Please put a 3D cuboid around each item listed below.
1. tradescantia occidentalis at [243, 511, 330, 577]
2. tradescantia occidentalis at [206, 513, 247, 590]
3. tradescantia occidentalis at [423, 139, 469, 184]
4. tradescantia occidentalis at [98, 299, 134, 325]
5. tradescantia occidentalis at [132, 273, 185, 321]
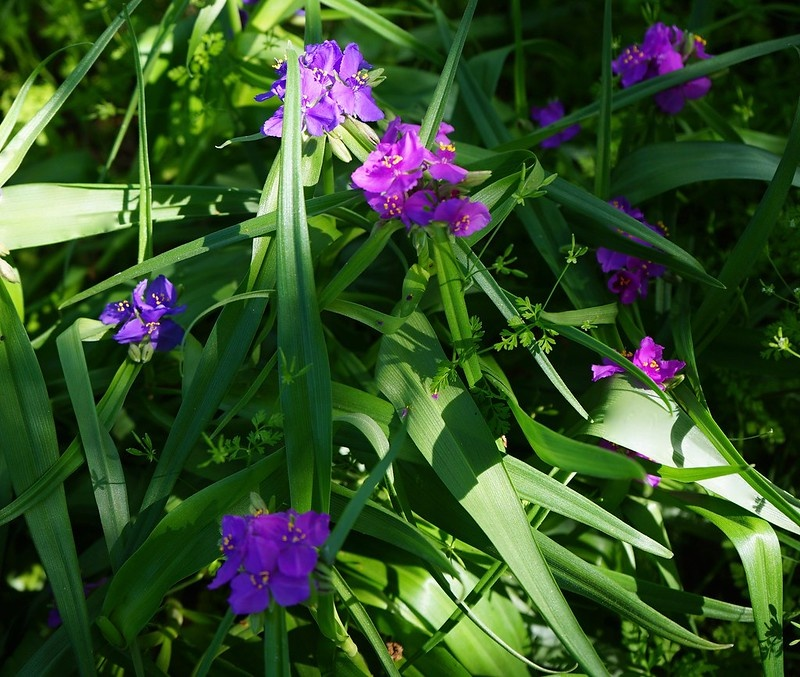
[{"bbox_3d":[-0.120,0.223,0.943,0.073,0.035,0.104,-9,23,28],"label":"tradescantia occidentalis"},{"bbox_3d":[-0.193,0.245,0.971,0.017,0.085,0.050,2,20,-26],"label":"tradescantia occidentalis"},{"bbox_3d":[0.060,-0.217,1.052,0.048,0.048,0.116,-7,2,8],"label":"tradescantia occidentalis"},{"bbox_3d":[-0.383,-0.035,1.164,0.045,0.034,0.042,-8,2,-15],"label":"tradescantia occidentalis"},{"bbox_3d":[-0.337,-0.054,1.176,0.067,0.064,0.070,-8,2,-31],"label":"tradescantia occidentalis"}]
